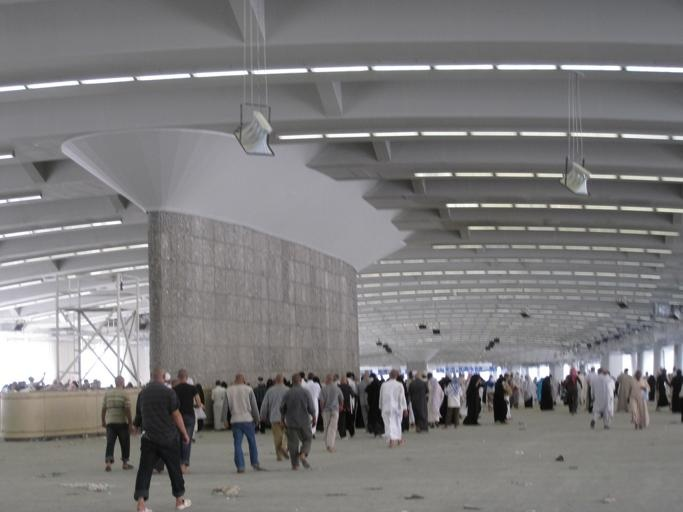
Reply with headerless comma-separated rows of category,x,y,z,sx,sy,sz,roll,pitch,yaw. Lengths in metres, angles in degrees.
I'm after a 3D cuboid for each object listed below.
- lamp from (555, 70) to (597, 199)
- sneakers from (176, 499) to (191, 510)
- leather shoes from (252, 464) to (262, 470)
lamp,5.609,-2.513,20.283,0.554,3.017,5.807,-5,-13,16
sneakers,-2.635,4.168,14.053,0.098,0.102,0.209,1,2,21
leather shoes,-1.732,4.392,17.396,0.081,0.124,0.250,1,-1,10
